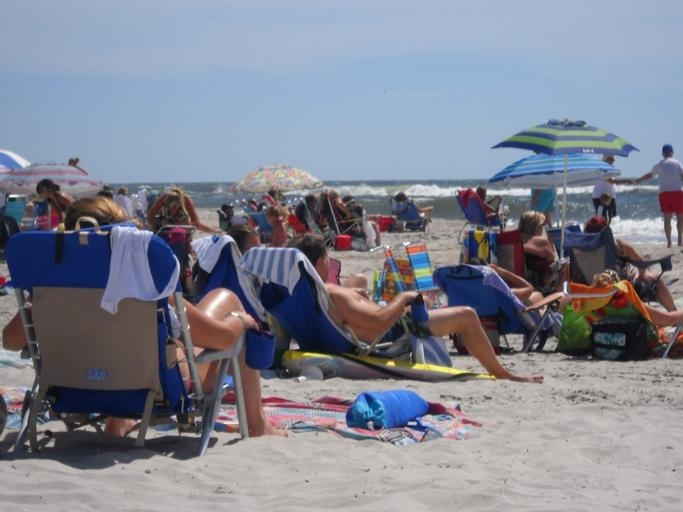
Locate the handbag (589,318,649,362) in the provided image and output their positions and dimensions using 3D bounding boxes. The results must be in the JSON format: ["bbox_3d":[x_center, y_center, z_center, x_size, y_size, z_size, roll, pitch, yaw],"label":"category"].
[{"bbox_3d":[2.265,0.681,7.684,0.329,0.257,0.335,0,-6,-33],"label":"handbag"}]

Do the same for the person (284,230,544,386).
[{"bbox_3d":[0.630,0.473,7.217,1.730,1.094,0.819,-5,-1,-5],"label":"person"}]
